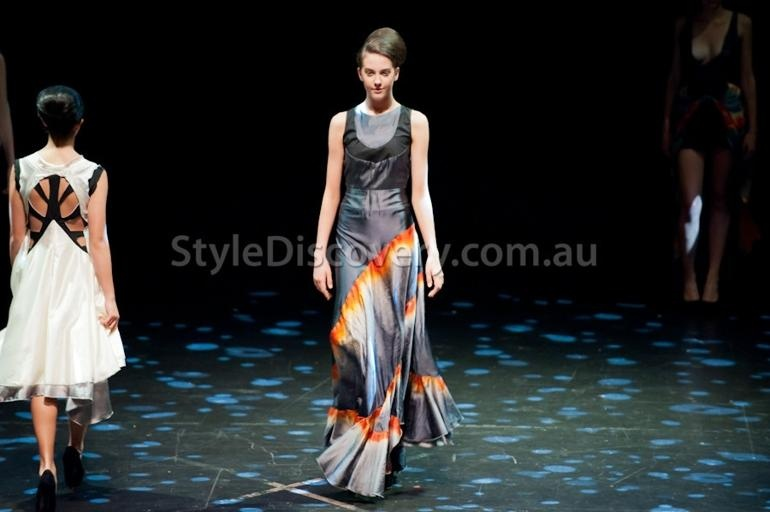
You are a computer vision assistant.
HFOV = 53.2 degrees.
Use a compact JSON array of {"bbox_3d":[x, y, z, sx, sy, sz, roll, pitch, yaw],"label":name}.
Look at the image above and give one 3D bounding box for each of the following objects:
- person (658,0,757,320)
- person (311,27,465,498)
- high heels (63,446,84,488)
[{"bbox_3d":[2.633,-0.861,6.306,0.695,2.403,0.551,4,13,17],"label":"person"},{"bbox_3d":[-0.066,0.020,3.214,0.595,1.900,0.516,-12,18,-43],"label":"person"},{"bbox_3d":[-1.287,0.865,3.207,0.082,0.180,0.069,-1,8,-4],"label":"high heels"}]
